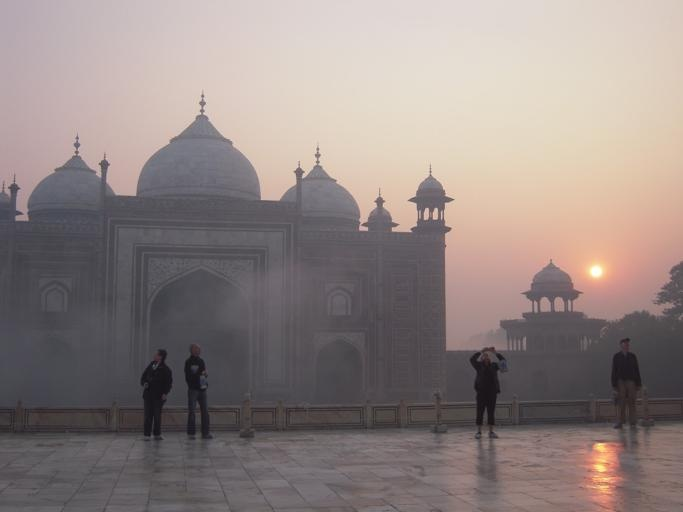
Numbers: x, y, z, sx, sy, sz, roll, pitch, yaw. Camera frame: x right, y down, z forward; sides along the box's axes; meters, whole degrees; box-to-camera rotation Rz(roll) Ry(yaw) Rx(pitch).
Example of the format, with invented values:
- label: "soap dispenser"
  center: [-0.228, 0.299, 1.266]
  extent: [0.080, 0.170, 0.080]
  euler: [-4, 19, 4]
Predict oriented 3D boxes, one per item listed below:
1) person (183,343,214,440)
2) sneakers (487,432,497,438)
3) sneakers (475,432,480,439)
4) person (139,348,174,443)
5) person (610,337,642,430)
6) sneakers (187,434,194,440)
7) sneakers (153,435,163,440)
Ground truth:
- label: "person"
  center: [-2.887, 2.671, 26.282]
  extent: [0.450, 1.830, 0.611]
  euler: [-2, -9, 8]
- label: "sneakers"
  center: [2.965, 3.534, 26.299]
  extent: [0.125, 0.106, 0.301]
  euler: [0, -9, -12]
- label: "sneakers"
  center: [2.675, 3.534, 26.271]
  extent: [0.114, 0.116, 0.302]
  euler: [-2, -12, 7]
- label: "person"
  center: [-3.747, 2.736, 26.484]
  extent: [0.581, 1.751, 0.705]
  euler: [1, -9, -8]
- label: "person"
  center: [5.941, 2.615, 27.689]
  extent: [0.599, 1.881, 1.101]
  euler: [-2, -9, 11]
- label: "sneakers"
  center: [-3.003, 3.561, 26.221]
  extent: [0.133, 0.073, 0.086]
  euler: [2, 3, -11]
- label: "sneakers"
  center: [-3.654, 3.572, 26.195]
  extent: [0.193, 0.068, 0.067]
  euler: [-2, -3, 22]
